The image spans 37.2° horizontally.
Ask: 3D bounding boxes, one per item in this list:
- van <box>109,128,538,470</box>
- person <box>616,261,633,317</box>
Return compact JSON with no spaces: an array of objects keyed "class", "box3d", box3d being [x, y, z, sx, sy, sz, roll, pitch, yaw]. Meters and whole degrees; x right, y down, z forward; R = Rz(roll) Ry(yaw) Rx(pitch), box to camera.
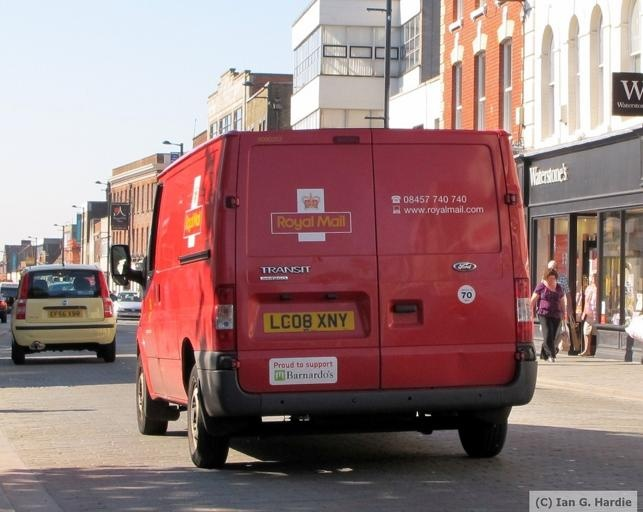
[{"class":"van","box3d":[-0.164,0.293,9.056,2.138,1.964,3.443,1,-1,-14]},{"class":"person","box3d":[6.801,0.769,21.326,0.168,1.372,0.512,0,0,-10]}]
